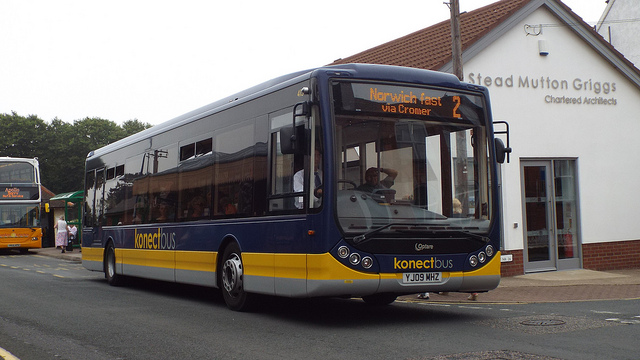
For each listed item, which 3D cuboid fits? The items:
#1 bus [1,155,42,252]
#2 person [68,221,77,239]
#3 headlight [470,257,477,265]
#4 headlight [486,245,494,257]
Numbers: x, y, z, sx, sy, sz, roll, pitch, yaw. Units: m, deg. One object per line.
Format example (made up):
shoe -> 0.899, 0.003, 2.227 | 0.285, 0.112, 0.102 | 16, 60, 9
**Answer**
bus -> -20.167, 1.596, 35.908 | 2.415, 5.975, 2.179 | 1, -3, -30
person -> -17.462, 3.533, 37.334 | 0.256, 0.822, 0.645 | 10, 3, 40
headlight -> 3.418, 1.811, 11.838 | 0.149, 0.139, 0.033 | 3, -4, -18
headlight -> 3.815, 1.599, 12.013 | 0.211, 0.195, 0.179 | 22, -15, 8
